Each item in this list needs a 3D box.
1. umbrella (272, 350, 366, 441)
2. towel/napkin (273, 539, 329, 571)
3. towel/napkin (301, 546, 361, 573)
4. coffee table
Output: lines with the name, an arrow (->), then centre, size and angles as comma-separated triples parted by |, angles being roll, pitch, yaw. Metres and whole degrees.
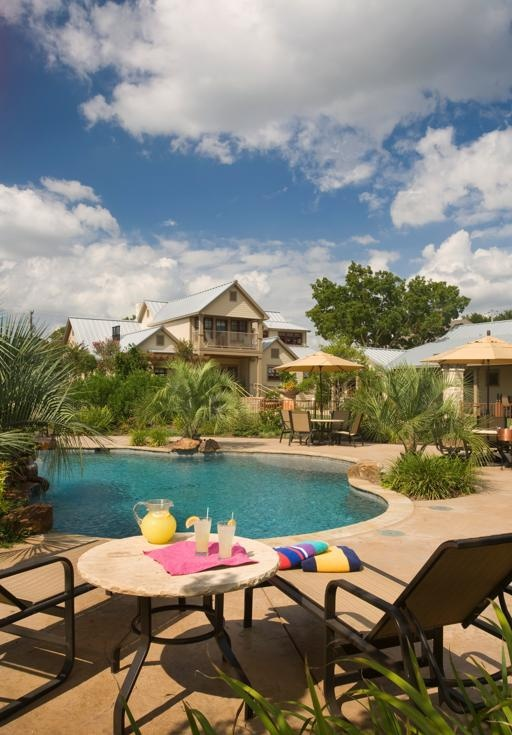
umbrella -> 2.210, 0.849, 17.273 | 2.725, 2.373, 2.778 | -3, -1, 18
towel/napkin -> 0.336, 1.483, 3.997 | 0.570, 0.131, 0.363 | 2, 3, 3
towel/napkin -> 0.586, 1.498, 3.872 | 0.262, 0.077, 0.260 | -3, -3, 4
coffee table -> -0.457, 1.215, 2.548 | 0.931, 0.645, 0.920 | 2, 4, 40
